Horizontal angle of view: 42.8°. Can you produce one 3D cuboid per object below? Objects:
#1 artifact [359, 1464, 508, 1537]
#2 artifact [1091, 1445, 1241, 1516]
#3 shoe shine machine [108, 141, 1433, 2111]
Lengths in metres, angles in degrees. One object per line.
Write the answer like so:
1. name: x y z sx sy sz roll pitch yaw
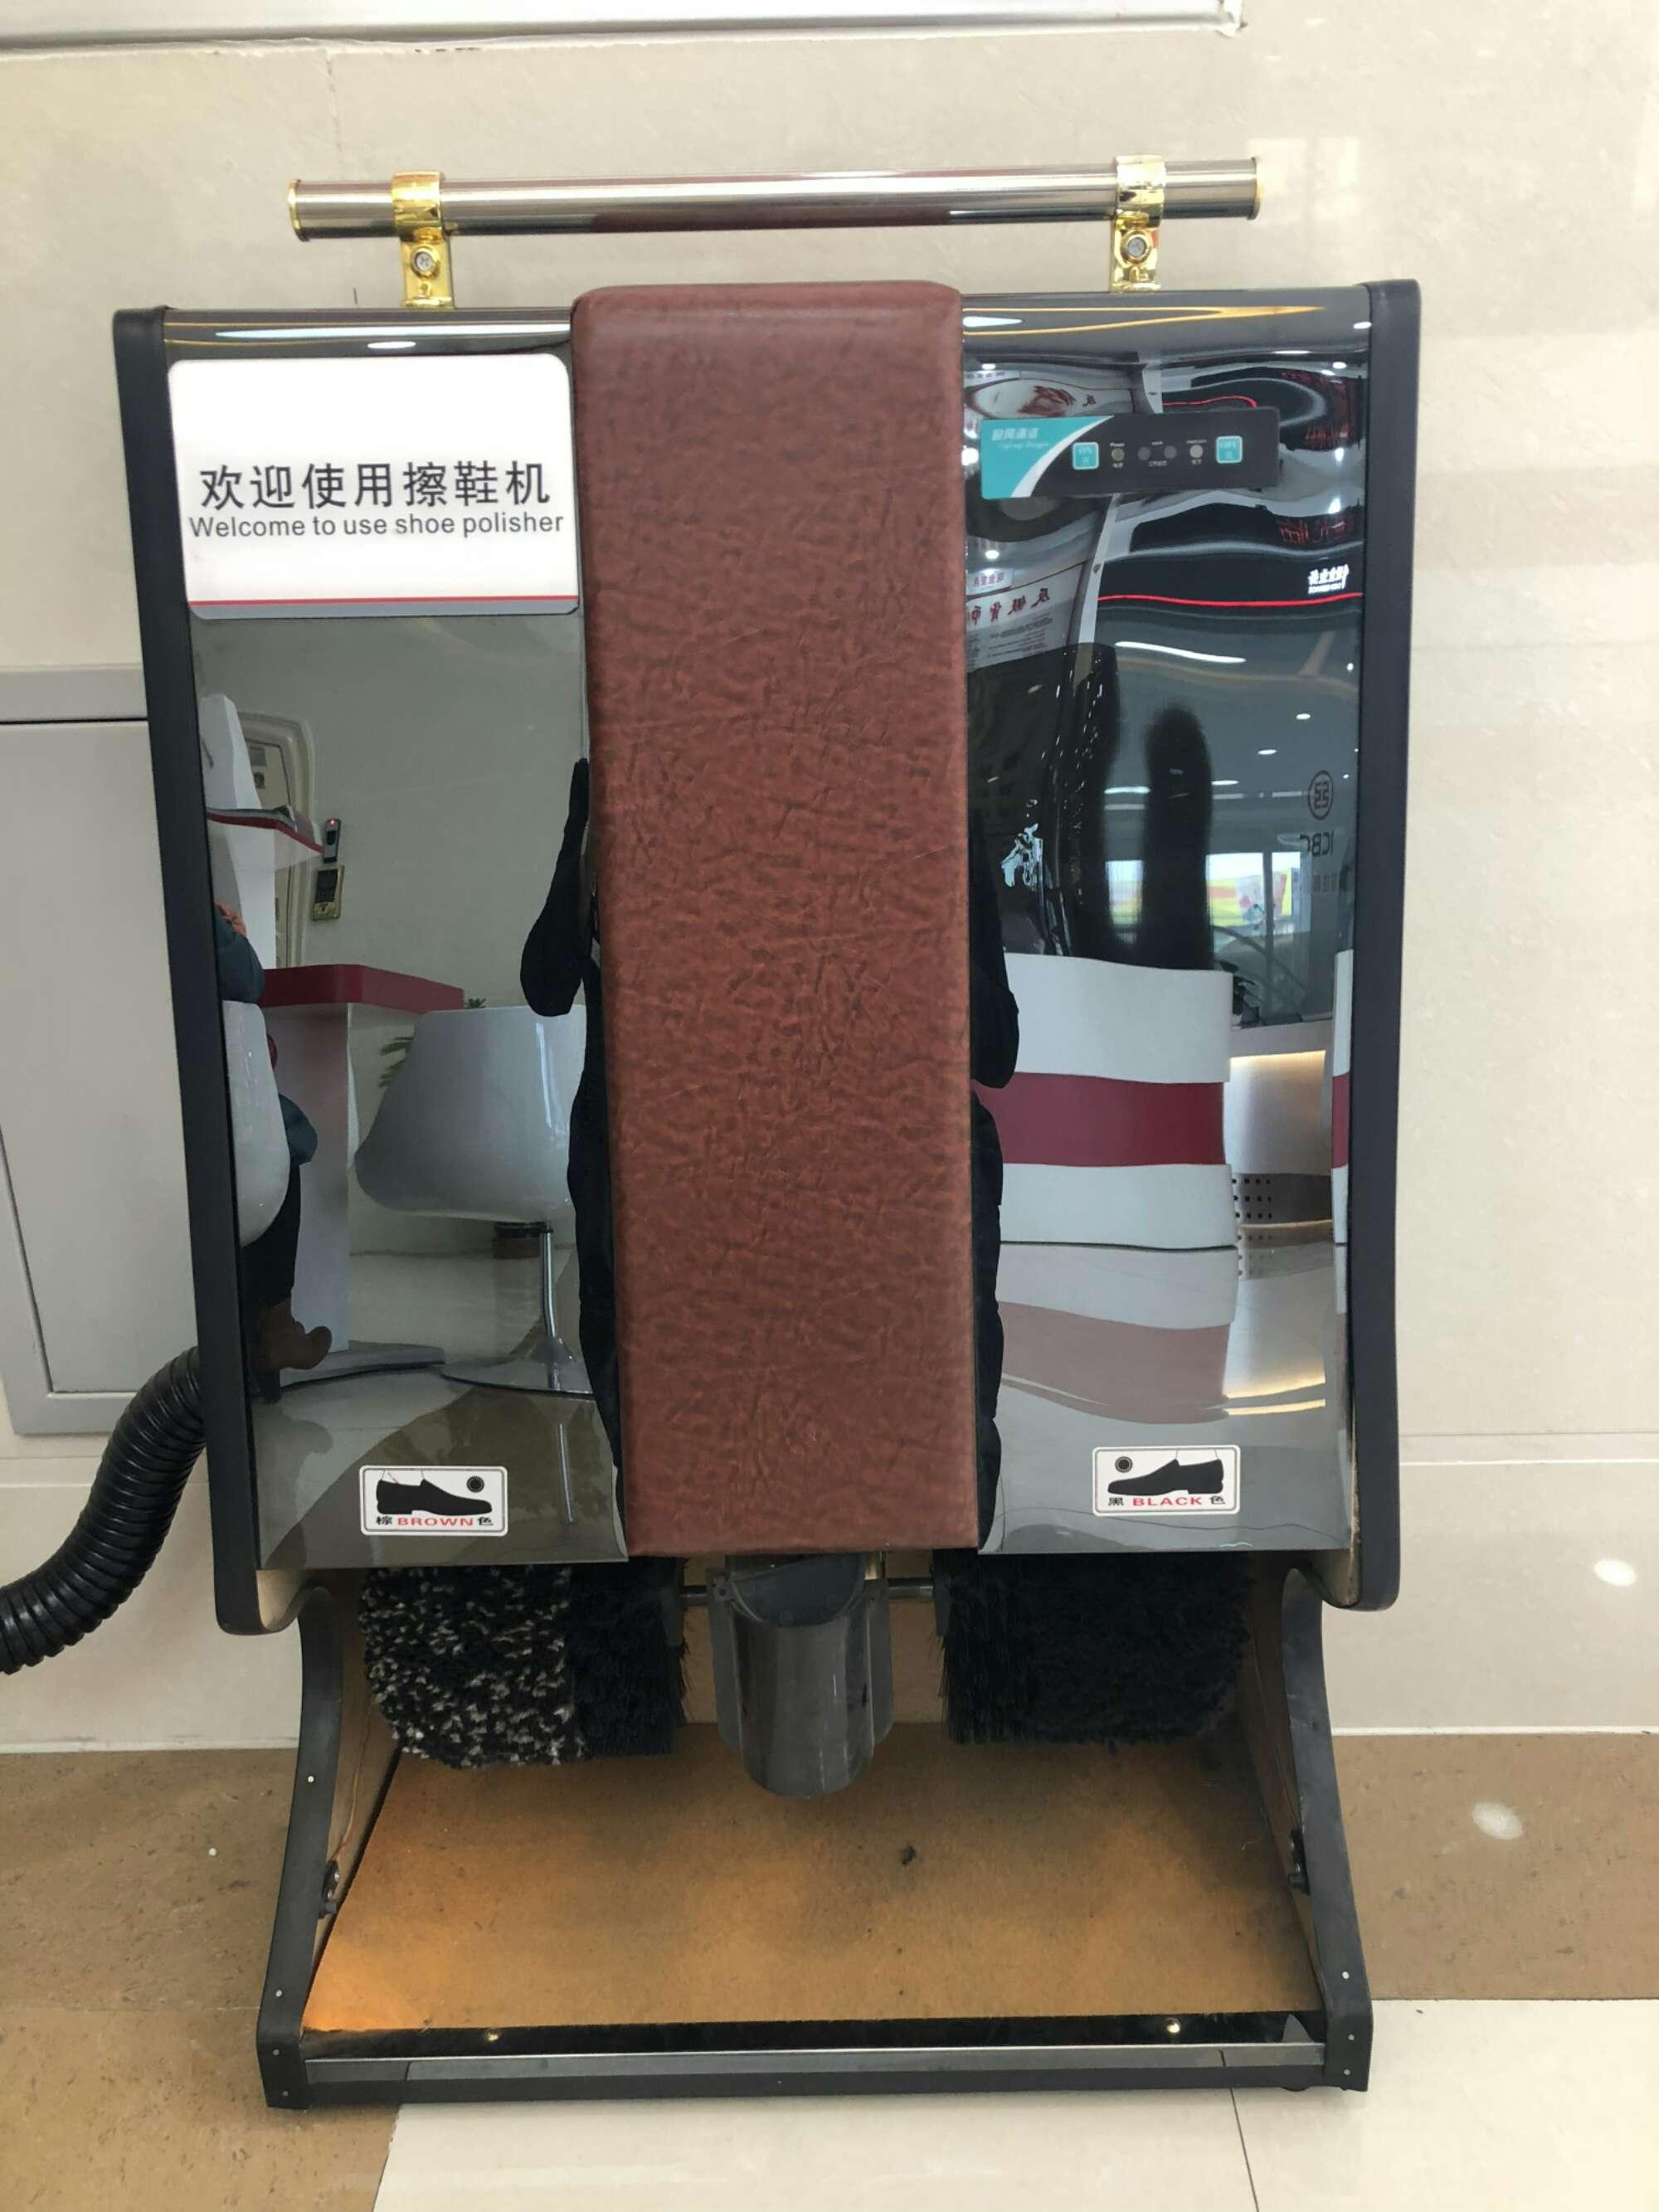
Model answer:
1. artifact: -0.221 0.225 1.197 0.078 0.040 0.015 1 11 1
2. artifact: 0.190 0.213 1.192 0.077 0.038 0.015 1 14 -2
3. shoe shine machine: -0.013 0.044 1.232 0.675 1.103 0.459 1 24 11
